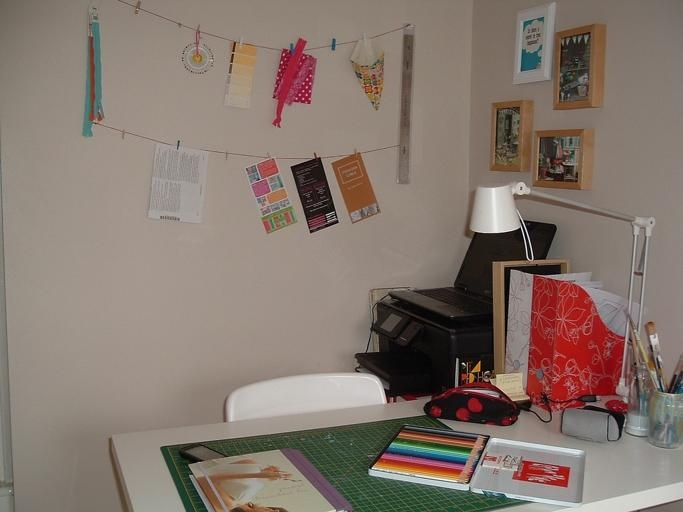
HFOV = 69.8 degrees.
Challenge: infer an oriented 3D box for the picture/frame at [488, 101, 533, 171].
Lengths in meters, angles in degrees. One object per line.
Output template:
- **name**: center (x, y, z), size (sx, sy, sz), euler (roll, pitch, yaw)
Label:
- **picture/frame**: center (0.828, -0.572, 2.358), size (0.059, 0.338, 0.255), euler (-5, 12, -24)

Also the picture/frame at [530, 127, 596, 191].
- **picture/frame**: center (0.962, -0.413, 2.078), size (0.051, 0.301, 0.350), euler (-2, 8, -20)

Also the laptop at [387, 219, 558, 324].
- **laptop**: center (0.646, 0.064, 2.274), size (0.520, 0.340, 0.531), euler (-2, 5, -21)

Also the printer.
- **printer**: center (0.369, 0.363, 2.090), size (0.457, 0.325, 0.477), euler (-3, 7, -21)

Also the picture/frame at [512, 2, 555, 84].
- **picture/frame**: center (0.887, -0.954, 2.218), size (0.047, 0.327, 0.210), euler (-5, 12, -24)
